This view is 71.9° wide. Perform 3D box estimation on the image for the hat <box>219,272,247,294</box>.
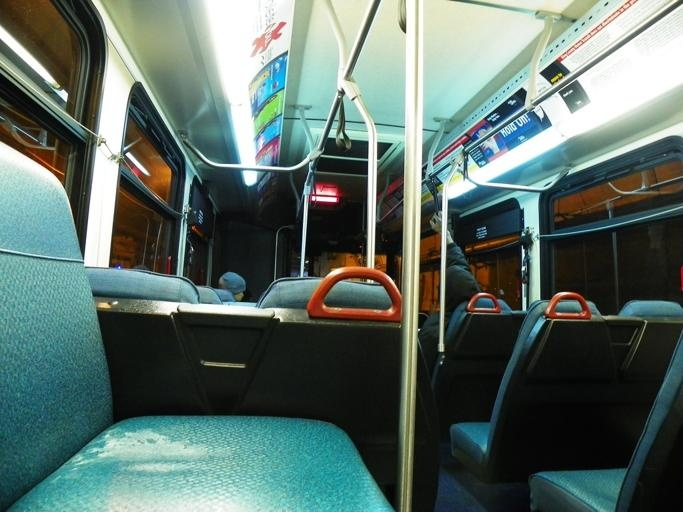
[{"bbox_3d":[-1.358,0.316,5.846,0.235,0.273,0.322,-4,16,-29],"label":"hat"}]
